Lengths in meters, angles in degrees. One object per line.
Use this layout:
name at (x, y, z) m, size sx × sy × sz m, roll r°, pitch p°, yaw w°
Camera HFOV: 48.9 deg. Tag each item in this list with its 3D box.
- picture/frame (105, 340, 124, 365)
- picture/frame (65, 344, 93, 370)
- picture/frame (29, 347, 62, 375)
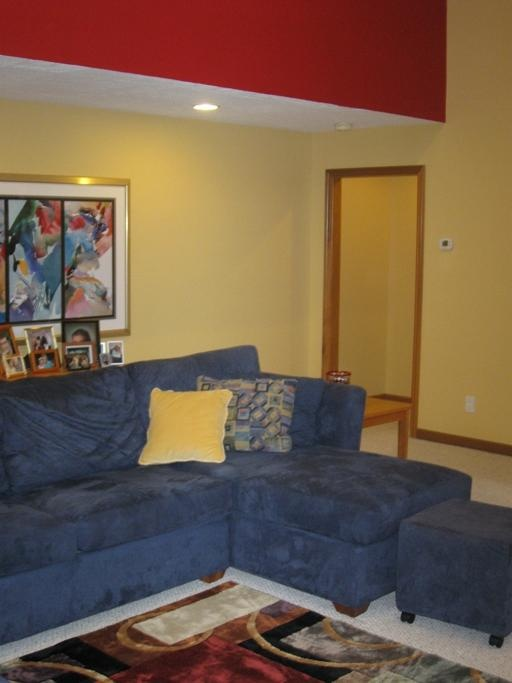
picture/frame at (-0.903, 0.076, 3.583) m, size 0.151 × 0.187 × 0.024 m, roll -4°, pitch 6°, yaw -36°
picture/frame at (-1.063, 0.096, 3.347) m, size 0.159 × 0.150 × 0.016 m, roll 2°, pitch -15°, yaw -37°
picture/frame at (-1.221, 0.115, 3.237) m, size 0.158 × 0.129 × 0.017 m, roll -8°, pitch -12°, yaw -46°
